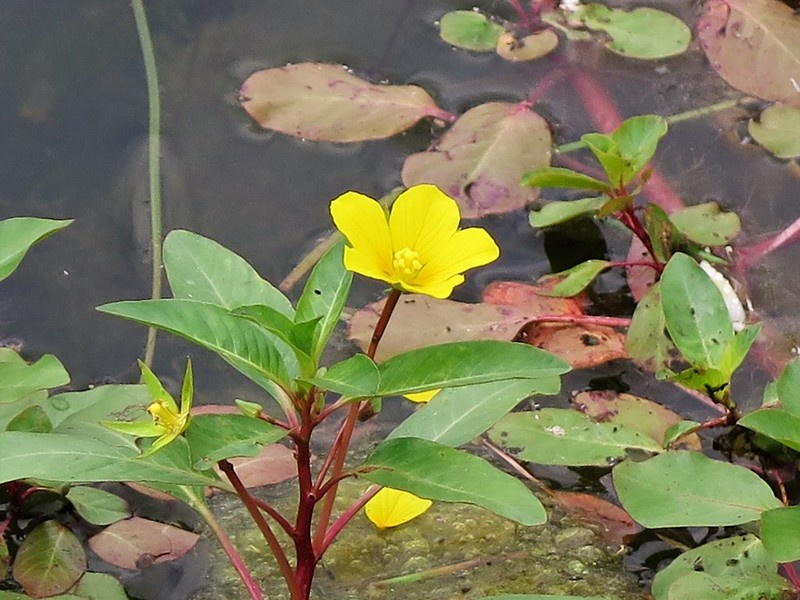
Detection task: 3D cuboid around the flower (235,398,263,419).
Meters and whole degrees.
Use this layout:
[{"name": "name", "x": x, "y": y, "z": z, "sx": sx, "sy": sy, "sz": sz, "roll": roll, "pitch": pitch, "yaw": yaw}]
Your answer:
[{"name": "flower", "x": -0.380, "y": 0.273, "z": 2.502, "sx": 0.063, "sy": 0.028, "sz": 0.040, "roll": 29, "pitch": 79, "yaw": -8}]

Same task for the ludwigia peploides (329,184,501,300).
[{"name": "ludwigia peploides", "x": 0.039, "y": -0.131, "z": 2.589, "sx": 0.399, "sy": 0.203, "sz": 0.351, "roll": -7, "pitch": 45, "yaw": -15}]
